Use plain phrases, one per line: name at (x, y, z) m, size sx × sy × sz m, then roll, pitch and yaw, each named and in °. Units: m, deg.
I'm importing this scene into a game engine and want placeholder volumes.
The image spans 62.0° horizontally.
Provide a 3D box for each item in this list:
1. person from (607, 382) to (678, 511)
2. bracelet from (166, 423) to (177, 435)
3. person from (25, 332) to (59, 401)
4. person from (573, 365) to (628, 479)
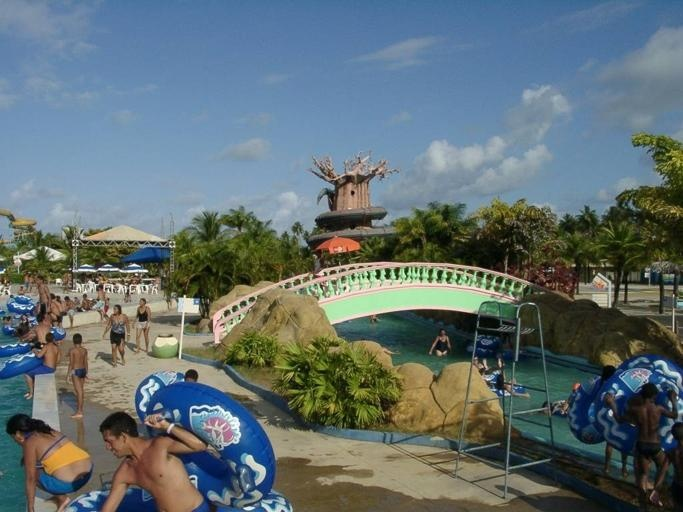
person at (4.850, 2.966, 9.010) m, size 0.957 × 1.902 × 0.842 m, roll -1°, pitch 3°, yaw -15°
bracelet at (-2.094, 2.120, 6.957) m, size 0.099 × 0.118 × 0.044 m, roll -8°, pitch -35°, yaw 30°
person at (-7.306, 2.672, 13.819) m, size 0.931 × 1.645 × 0.640 m, roll 2°, pitch 4°, yaw 38°
person at (4.513, 2.927, 10.099) m, size 1.019 × 1.889 × 0.552 m, roll 0°, pitch -35°, yaw 2°
